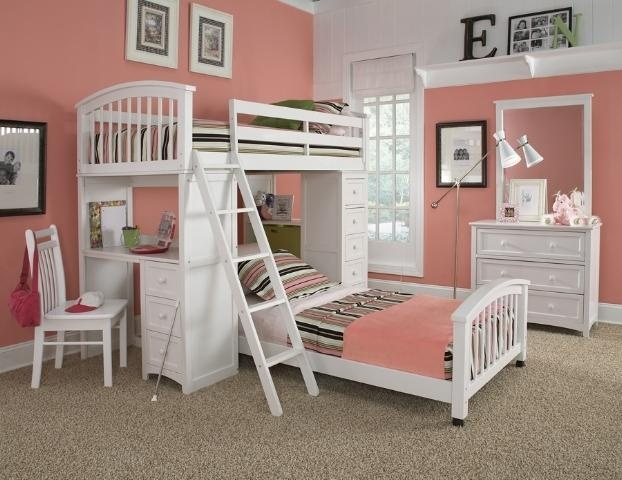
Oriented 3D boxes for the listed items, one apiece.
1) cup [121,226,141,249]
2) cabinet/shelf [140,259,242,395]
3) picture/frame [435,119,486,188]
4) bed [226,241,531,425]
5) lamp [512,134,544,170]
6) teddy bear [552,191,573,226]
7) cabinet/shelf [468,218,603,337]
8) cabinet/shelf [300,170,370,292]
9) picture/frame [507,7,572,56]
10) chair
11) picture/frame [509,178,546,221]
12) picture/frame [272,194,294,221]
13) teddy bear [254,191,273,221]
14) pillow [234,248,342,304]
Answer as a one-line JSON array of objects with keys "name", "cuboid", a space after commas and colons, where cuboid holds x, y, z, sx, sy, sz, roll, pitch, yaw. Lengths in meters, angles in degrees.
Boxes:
[{"name": "cup", "cuboid": [-1.405, -0.016, 3.790, 0.154, 0.163, 0.132, -3, 6, -35]}, {"name": "cabinet/shelf", "cuboid": [-0.870, 0.552, 3.465, 0.469, 0.882, 0.514, 4, 5, 32]}, {"name": "picture/frame", "cuboid": [1.615, -0.940, 5.137, 0.681, 0.981, 0.066, 2, 3, 32]}, {"name": "bed", "cuboid": [0.559, 0.569, 3.752, 1.819, 0.917, 1.554, 0, 2, 39]}, {"name": "lamp", "cuboid": [1.932, -0.797, 4.271, 0.162, 0.272, 0.147, -21, -13, -21]}, {"name": "teddy bear", "cuboid": [2.307, -0.284, 4.435, 0.135, 0.284, 0.201, -30, 10, -39]}, {"name": "cabinet/shelf", "cuboid": [1.975, 0.322, 4.101, 0.985, 0.982, 0.483, 1, 0, 37]}, {"name": "cabinet/shelf", "cuboid": [0.251, -0.062, 4.533, 0.385, 1.129, 0.373, 5, 8, 41]}, {"name": "picture/frame", "cuboid": [2.227, -2.018, 4.653, 0.521, 0.385, 0.042, -3, -3, 36]}, {"name": "chair", "cuboid": [-1.654, 0.456, 3.482, 0.738, 1.050, 0.746, 3, 4, 22]}, {"name": "picture/frame", "cuboid": [2.109, -0.385, 4.682, 0.395, 0.500, 0.170, 0, -5, 37]}, {"name": "picture/frame", "cuboid": [-0.300, -0.339, 4.913, 0.287, 0.373, 0.030, 0, -10, 25]}, {"name": "teddy bear", "cuboid": [-0.477, -0.372, 5.021, 0.092, 0.297, 0.215, 12, -16, -44]}, {"name": "pillow", "cuboid": [-0.347, 0.259, 4.021, 0.909, 0.213, 0.983, 16, 17, 41]}]
